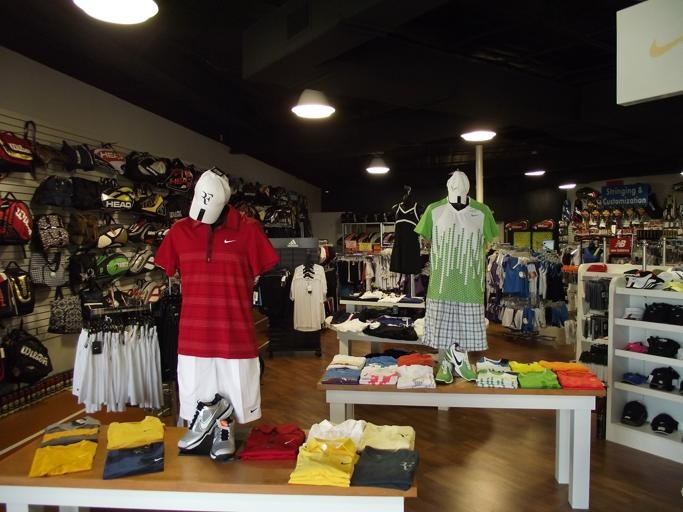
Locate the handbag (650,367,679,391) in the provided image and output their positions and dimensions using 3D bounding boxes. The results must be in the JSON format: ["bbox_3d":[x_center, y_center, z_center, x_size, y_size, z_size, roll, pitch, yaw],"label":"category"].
[{"bbox_3d":[2.887,1.119,4.030,0.197,0.201,0.053,4,-13,37],"label":"handbag"}]

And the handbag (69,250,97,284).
[{"bbox_3d":[-2.905,0.142,5.047,0.193,0.378,0.380,0,0,28],"label":"handbag"}]

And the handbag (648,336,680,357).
[{"bbox_3d":[2.854,0.802,4.004,0.163,0.071,0.196,3,6,36],"label":"handbag"}]

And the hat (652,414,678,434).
[{"bbox_3d":[2.881,1.513,4.011,0.223,0.126,0.154,-9,15,-30],"label":"hat"}]

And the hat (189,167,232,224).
[{"bbox_3d":[-0.908,-0.418,3.102,0.259,0.387,0.191,21,-28,-6],"label":"hat"}]

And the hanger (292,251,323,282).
[{"bbox_3d":[-0.495,0.125,6.534,0.330,0.265,0.592,-2,13,1],"label":"hanger"}]

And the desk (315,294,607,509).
[{"bbox_3d":[0.969,1.323,4.211,2.483,1.028,1.746,1,13,14],"label":"desk"}]

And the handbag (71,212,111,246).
[{"bbox_3d":[-2.878,-0.322,5.130,0.193,0.327,0.352,10,22,15],"label":"handbag"}]

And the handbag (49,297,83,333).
[{"bbox_3d":[-2.900,0.644,4.743,0.168,0.450,0.391,-1,0,40],"label":"handbag"}]

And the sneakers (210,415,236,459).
[{"bbox_3d":[-0.705,1.117,2.716,0.095,0.121,0.282,0,-4,-8],"label":"sneakers"}]

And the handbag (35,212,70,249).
[{"bbox_3d":[-3.000,-0.247,4.664,0.209,0.398,0.341,-17,-5,31],"label":"handbag"}]

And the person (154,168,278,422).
[{"bbox_3d":[-0.834,0.288,3.150,0.806,1.747,0.543,-5,13,-14],"label":"person"}]

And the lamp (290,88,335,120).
[{"bbox_3d":[-0.300,-1.675,5.044,0.396,0.172,0.402,0,-1,18],"label":"lamp"}]

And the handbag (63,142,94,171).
[{"bbox_3d":[-2.909,-1.092,4.981,0.318,0.314,0.114,1,-9,-39],"label":"handbag"}]

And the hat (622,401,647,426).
[{"bbox_3d":[2.719,1.473,4.158,0.248,0.181,0.162,-2,13,-1],"label":"hat"}]

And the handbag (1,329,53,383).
[{"bbox_3d":[-2.930,0.967,4.221,0.209,0.534,0.380,-36,-11,35],"label":"handbag"}]
